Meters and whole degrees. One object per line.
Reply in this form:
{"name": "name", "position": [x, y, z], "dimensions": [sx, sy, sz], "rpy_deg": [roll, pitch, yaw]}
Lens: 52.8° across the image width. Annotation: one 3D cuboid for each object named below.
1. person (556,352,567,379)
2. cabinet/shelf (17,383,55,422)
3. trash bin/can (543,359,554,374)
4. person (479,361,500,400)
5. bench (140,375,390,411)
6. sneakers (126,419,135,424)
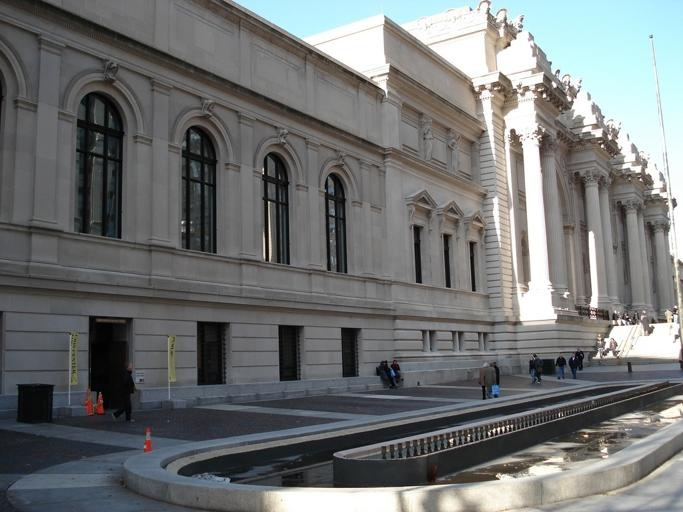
{"name": "person", "position": [13.637, 6.773, 42.889], "dimensions": [0.474, 1.484, 1.942], "rpy_deg": [-5, -11, 16]}
{"name": "cabinet/shelf", "position": [-9.102, 4.447, 21.028], "dimensions": [1.009, 1.059, 1.082], "rpy_deg": [-8, -11, 41]}
{"name": "trash bin/can", "position": [14.037, 7.380, 46.616], "dimensions": [0.777, 1.056, 0.547], "rpy_deg": [-5, -11, 13]}
{"name": "person", "position": [6.161, 5.128, 28.703], "dimensions": [0.739, 1.430, 1.807], "rpy_deg": [-4, -11, 10]}
{"name": "bench", "position": [-3.193, 5.656, 29.192], "dimensions": [1.130, 0.946, 12.122], "rpy_deg": [-11, -14, 39]}
{"name": "sneakers", "position": [-6.593, 5.041, 21.349], "dimensions": [0.271, 0.198, 0.092], "rpy_deg": [1, -2, -14]}
